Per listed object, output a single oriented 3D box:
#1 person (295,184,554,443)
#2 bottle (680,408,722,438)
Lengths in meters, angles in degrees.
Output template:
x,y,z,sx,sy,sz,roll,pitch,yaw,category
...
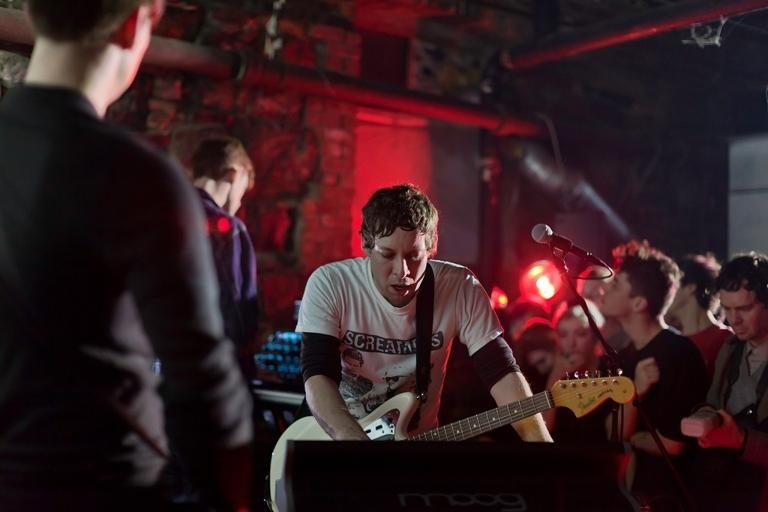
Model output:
x,y,z,sx,sy,sz,roll,pitch,yaw,category
0.179,0.115,2.843,0.885,1.099,1.039,-2,11,-20,person
1.473,0.781,3.096,0.154,0.132,0.383,3,-3,28,bottle
